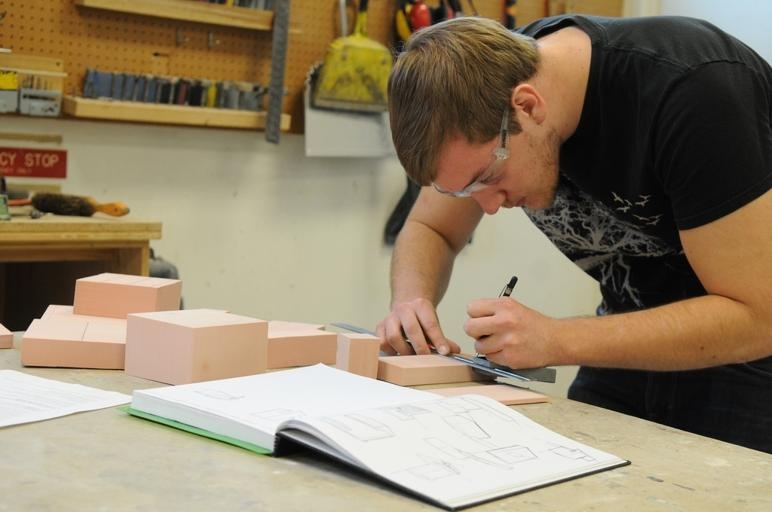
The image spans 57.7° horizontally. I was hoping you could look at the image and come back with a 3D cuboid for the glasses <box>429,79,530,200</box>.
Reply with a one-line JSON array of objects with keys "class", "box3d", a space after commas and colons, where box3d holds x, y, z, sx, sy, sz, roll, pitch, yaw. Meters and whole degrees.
[{"class": "glasses", "box3d": [0.236, -0.289, 1.757, 0.062, 0.231, 0.179, 30, -20, -18]}]
